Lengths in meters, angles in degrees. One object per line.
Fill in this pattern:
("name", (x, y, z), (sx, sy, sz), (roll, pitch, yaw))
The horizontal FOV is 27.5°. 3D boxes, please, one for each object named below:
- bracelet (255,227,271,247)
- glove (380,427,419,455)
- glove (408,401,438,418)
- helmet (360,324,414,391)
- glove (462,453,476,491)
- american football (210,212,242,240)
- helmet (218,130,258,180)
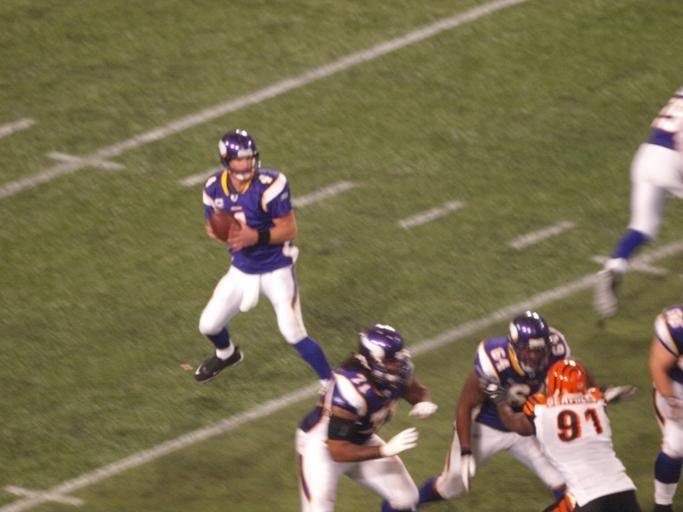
("bracelet", (-0.721, -0.188, 13.018), (0.157, 0.127, 0.146), (9, -8, 15))
("glove", (0.535, 1.602, 12.016), (0.338, 0.188, 0.101), (-26, -18, 30))
("glove", (0.727, 1.372, 12.322), (0.221, 0.047, 0.143), (-13, 47, 9))
("helmet", (0.373, 0.884, 12.128), (0.371, 0.503, 0.284), (-28, 29, -15))
("glove", (1.126, 1.887, 12.273), (0.138, 0.318, 0.112), (-4, -13, 23))
("american football", (-1.108, -0.311, 12.991), (0.306, 0.199, 0.195), (31, 32, 29))
("helmet", (-0.955, -0.949, 12.976), (0.348, 0.419, 0.309), (-26, 29, -11))
